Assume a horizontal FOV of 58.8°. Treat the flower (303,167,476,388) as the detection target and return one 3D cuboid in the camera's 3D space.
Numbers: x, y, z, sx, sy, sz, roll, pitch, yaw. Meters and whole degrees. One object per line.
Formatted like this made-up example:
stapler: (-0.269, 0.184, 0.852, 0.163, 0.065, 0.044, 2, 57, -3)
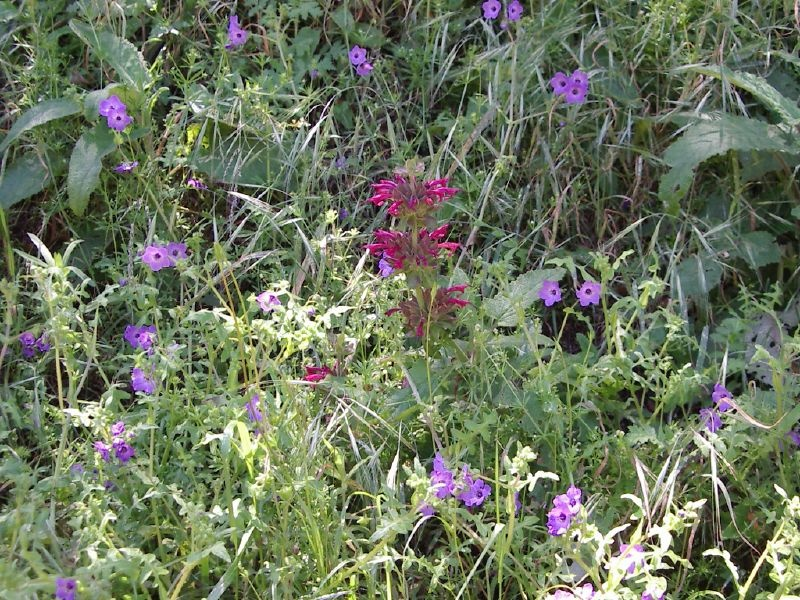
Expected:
flower: (-0.032, -0.053, 2.464, 0.306, 0.863, 0.344, 12, 34, 30)
